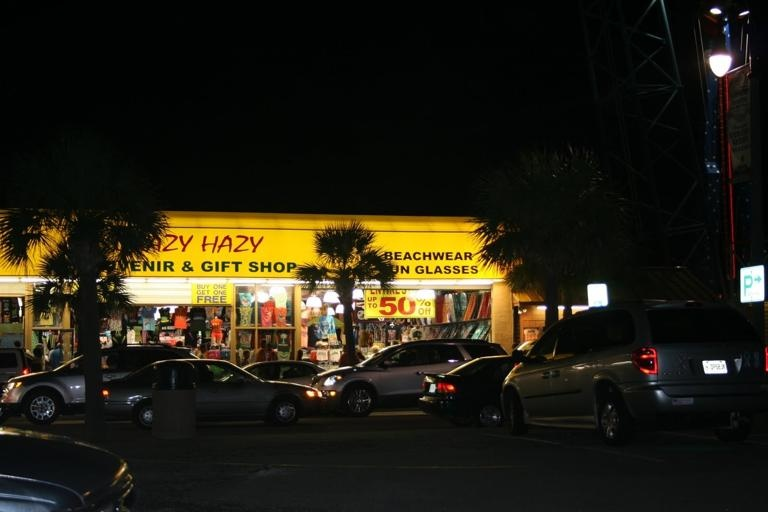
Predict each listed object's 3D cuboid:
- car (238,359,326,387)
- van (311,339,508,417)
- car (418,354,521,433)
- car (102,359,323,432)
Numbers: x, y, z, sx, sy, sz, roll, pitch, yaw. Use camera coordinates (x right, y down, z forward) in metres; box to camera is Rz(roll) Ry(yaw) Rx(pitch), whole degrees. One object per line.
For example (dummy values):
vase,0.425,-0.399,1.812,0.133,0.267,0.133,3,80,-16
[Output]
car,-3.117,3.613,22.020,2.111,0.726,0.987,6,-6,-12
van,0.473,3.489,20.958,5.194,1.988,2.354,1,-8,-5
car,1.954,3.219,16.771,2.270,1.094,1.296,-3,-1,-15
car,-3.856,3.441,17.556,5.759,1.898,3.573,0,-1,-25
